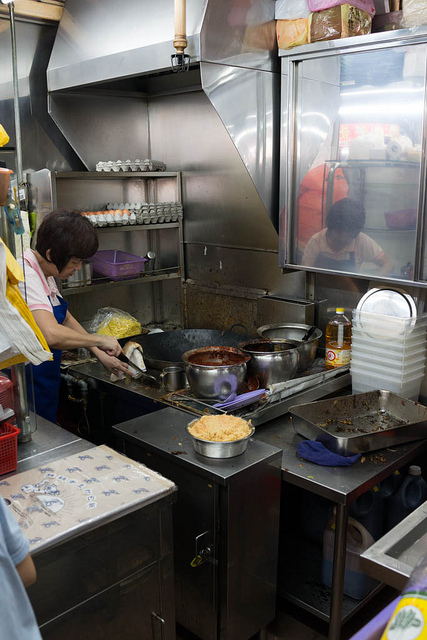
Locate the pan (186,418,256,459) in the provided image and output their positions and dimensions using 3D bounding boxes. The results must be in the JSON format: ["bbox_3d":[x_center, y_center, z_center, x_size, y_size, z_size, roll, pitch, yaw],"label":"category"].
[{"bbox_3d":[0.031,0.356,1.439,0.189,0.084,0.186,-6,12,-28],"label":"pan"}]

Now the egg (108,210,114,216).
[{"bbox_3d":[-0.553,-0.583,2.563,0.013,0.025,0.024,-17,-1,-27],"label":"egg"}]

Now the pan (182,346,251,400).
[{"bbox_3d":[0.009,0.211,1.803,0.265,0.161,0.293,1,8,8],"label":"pan"}]

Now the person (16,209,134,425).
[{"bbox_3d":[-0.583,0.015,1.895,0.431,0.876,0.411,-5,26,-39],"label":"person"}]

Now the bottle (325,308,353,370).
[{"bbox_3d":[0.550,0.082,2.058,0.103,0.267,0.100,0,7,0],"label":"bottle"}]

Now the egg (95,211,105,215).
[{"bbox_3d":[-0.609,-0.574,2.524,0.029,0.017,0.030,7,24,16],"label":"egg"}]

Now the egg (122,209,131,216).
[{"bbox_3d":[-0.478,-0.589,2.587,0.035,0.017,0.048,2,25,-13],"label":"egg"}]

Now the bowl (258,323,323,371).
[{"bbox_3d":[0.373,0.110,2.254,0.232,0.160,0.249,5,-11,1],"label":"bowl"}]

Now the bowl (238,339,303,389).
[{"bbox_3d":[0.243,0.191,1.919,0.242,0.187,0.263,-4,4,0],"label":"bowl"}]

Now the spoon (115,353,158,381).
[{"bbox_3d":[-0.328,0.207,2.018,0.150,0.018,0.050,40,5,8],"label":"spoon"}]

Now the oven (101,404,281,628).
[{"bbox_3d":[-0.085,0.687,1.615,0.288,0.585,0.586,-6,10,-43],"label":"oven"}]
